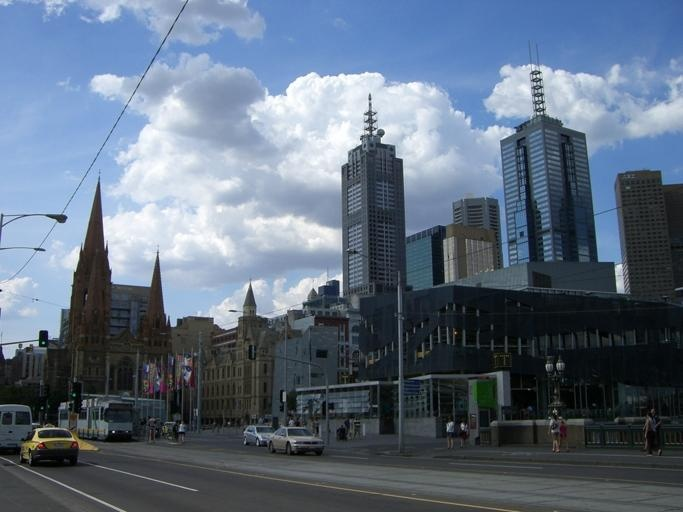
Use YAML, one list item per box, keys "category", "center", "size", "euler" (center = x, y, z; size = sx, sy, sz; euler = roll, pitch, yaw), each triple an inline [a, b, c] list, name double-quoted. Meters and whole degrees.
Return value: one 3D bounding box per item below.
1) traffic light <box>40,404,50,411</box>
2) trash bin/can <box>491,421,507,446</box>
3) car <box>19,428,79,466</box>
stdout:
- category: "traffic light"
  center: [-23.092, 11.666, 68.849]
  size: [0.597, 0.481, 1.807]
  euler: [5, -15, -21]
- category: "trash bin/can"
  center: [11.385, 12.868, 64.892]
  size: [1.074, 1.743, 0.632]
  euler: [-4, -14, 14]
- category: "car"
  center: [-17.398, 11.168, 52.598]
  size: [3.188, 2.387, 3.486]
  euler: [6, -14, -27]
